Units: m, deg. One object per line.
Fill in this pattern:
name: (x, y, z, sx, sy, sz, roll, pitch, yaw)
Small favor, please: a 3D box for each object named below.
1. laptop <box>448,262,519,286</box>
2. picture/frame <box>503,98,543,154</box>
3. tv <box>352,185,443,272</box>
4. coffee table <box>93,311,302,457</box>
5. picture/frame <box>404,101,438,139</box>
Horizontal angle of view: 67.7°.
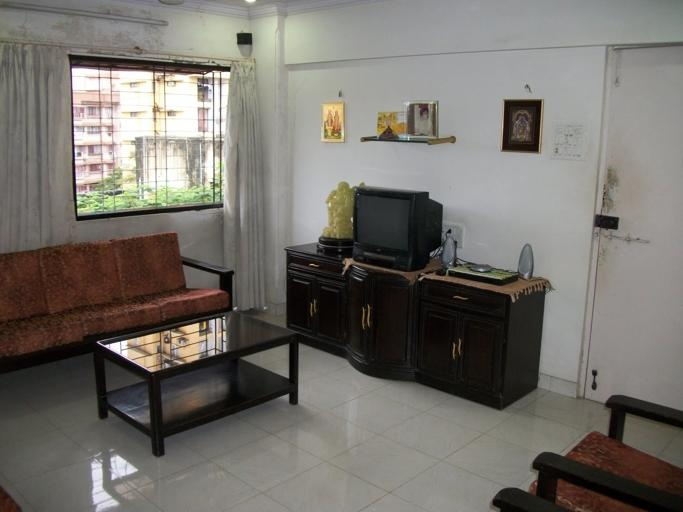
laptop: (1.173, 0.142, 4.227, 0.542, 0.084, 0.329, 8, 16, 31)
picture/frame: (1.529, -1.094, 4.231, 0.027, 0.564, 0.427, -8, 12, -44)
tv: (0.462, -0.354, 4.765, 0.688, 0.910, 0.924, -9, 14, -43)
coffee table: (-1.104, 0.919, 3.958, 1.314, 0.641, 0.902, -13, 18, -41)
picture/frame: (0.743, -1.241, 4.650, 0.357, 0.378, 0.037, -1, 18, 18)
